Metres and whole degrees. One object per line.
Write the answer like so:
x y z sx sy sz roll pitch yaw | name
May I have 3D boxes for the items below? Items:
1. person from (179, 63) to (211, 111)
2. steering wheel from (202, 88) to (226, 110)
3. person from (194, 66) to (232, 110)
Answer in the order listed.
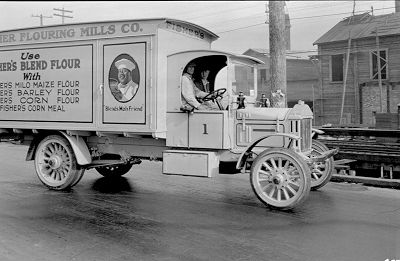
-0.157 -1.144 12.211 0.852 1.259 0.931 2 6 16 | person
0.381 -0.822 12.279 0.564 0.206 0.591 -11 -10 -2 | steering wheel
0.437 -1.195 12.842 1.264 1.359 0.858 2 3 20 | person
